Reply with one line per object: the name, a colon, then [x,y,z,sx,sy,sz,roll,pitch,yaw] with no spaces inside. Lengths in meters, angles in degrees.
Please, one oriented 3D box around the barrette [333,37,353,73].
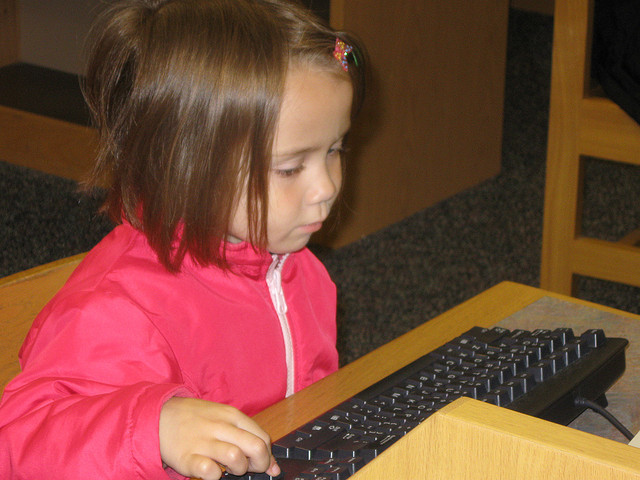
barrette: [0.031,-0.256,0.916,0.026,0.040,0.049,2,22,2]
